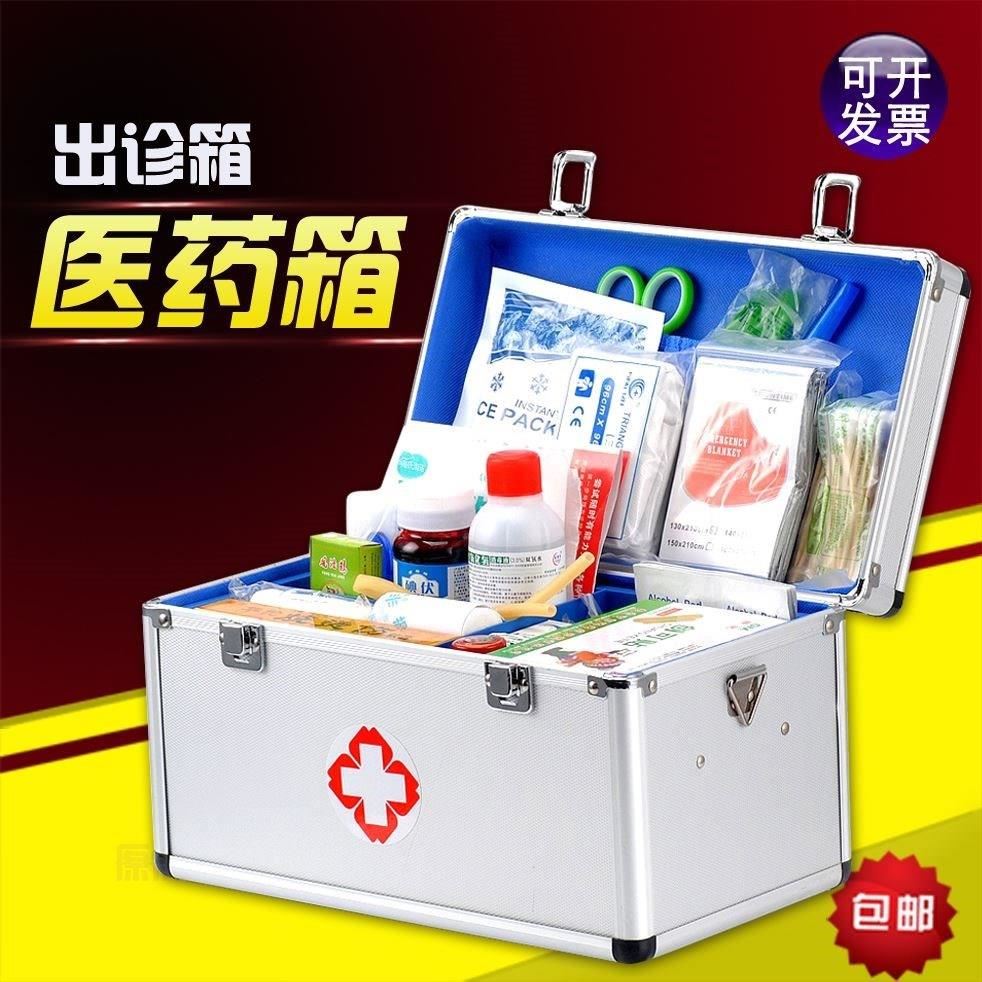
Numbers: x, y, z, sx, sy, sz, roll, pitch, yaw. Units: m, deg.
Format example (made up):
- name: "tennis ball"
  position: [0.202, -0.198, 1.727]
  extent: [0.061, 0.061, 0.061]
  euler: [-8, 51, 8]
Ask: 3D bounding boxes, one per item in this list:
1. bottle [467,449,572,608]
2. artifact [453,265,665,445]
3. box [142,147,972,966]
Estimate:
- name: "bottle"
  position: [0.025, 0.043, 0.980]
  extent: [0.095, 0.153, 0.093]
  euler: [-2, 12, 0]
- name: "artifact"
  position: [0.072, -0.138, 1.271]
  extent: [0.240, 0.217, 0.063]
  euler: [14, -9, 28]
- name: "box"
  position: [0.060, 0.079, 1.024]
  extent: [0.587, 0.549, 0.514]
  euler: [-1, 2, 39]
